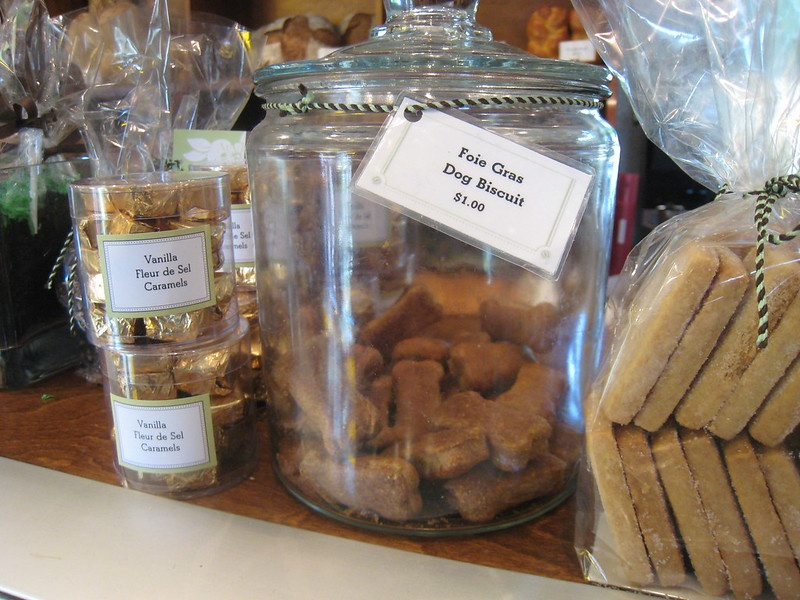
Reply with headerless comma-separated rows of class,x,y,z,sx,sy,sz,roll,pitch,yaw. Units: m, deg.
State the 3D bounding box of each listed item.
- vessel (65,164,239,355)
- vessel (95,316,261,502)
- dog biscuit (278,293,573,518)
vessel,-0.244,-0.050,0.822,0.178,0.187,0.173,-5,11,-14
vessel,-0.237,0.119,0.830,0.157,0.166,0.157,-1,5,40
dog biscuit,0.030,0.101,0.715,0.267,0.185,0.136,-2,32,-8
